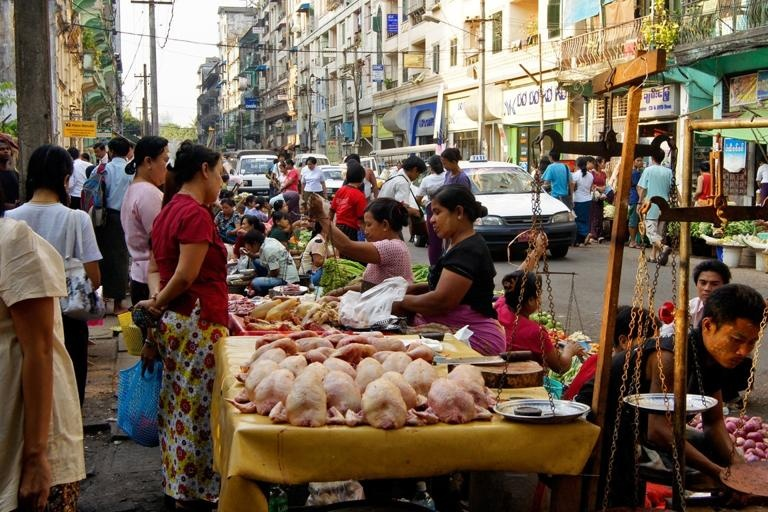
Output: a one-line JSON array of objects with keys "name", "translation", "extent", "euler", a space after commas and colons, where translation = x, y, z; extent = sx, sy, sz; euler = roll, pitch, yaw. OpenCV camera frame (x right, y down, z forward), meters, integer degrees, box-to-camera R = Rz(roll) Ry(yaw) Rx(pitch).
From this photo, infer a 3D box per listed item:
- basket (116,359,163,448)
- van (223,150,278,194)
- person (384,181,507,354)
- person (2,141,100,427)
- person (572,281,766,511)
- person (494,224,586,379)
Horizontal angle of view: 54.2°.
[{"name": "basket", "translation": [-1.688, 1.031, 5.369], "extent": [0.428, 0.665, 0.286], "euler": [1, -8, 6]}, {"name": "van", "translation": [-4.916, -3.167, 27.849], "extent": [1.648, 1.547, 2.840], "euler": [-1, 0, -12]}, {"name": "person", "translation": [0.642, 0.082, 6.141], "extent": [1.080, 1.603, 0.984], "euler": [1, -2, 9]}, {"name": "person", "translation": [-2.460, 0.288, 5.571], "extent": [0.991, 2.243, 0.768], "euler": [0, -3, 35]}, {"name": "person", "translation": [1.642, 0.652, 4.407], "extent": [0.826, 1.456, 0.890], "euler": [-3, 6, -31]}, {"name": "person", "translation": [1.123, 0.459, 5.593], "extent": [0.834, 1.563, 0.602], "euler": [2, 0, 5]}]
